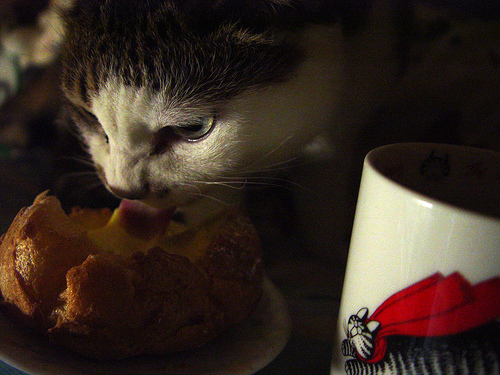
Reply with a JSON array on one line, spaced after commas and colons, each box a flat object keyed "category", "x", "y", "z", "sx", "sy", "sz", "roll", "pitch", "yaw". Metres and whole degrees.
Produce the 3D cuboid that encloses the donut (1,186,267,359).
[{"category": "donut", "x": -0.113, "y": 0.069, "z": 0.512, "sx": 0.247, "sy": 0.105, "sz": 0.177, "roll": -6, "pitch": 47, "yaw": -11}]
